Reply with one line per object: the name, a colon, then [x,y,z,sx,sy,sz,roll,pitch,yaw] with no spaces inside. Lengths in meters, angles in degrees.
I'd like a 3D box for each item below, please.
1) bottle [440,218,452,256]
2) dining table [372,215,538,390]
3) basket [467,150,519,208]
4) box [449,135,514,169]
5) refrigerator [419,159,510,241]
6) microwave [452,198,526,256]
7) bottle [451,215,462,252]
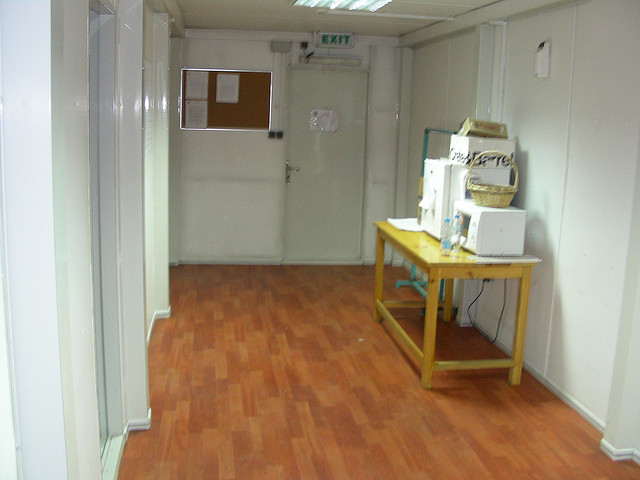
bottle: [0.981,-0.042,3.860,0.094,0.214,0.434,5,15,13]
dining table: [1.078,0.318,4.644,1.102,1.056,2.223,1,15,-3]
basket: [1.334,-0.464,3.823,0.334,0.457,0.348,6,3,18]
box: [1.270,-0.719,4.048,0.321,0.225,0.335,1,10,-11]
refrigerator: [1.157,-0.374,4.268,0.581,0.804,0.787,3,10,-4]
microwave: [1.315,-0.083,3.906,0.381,0.382,0.571,-2,12,2]
bottle: [1.052,-0.062,3.846,0.075,0.249,0.254,5,14,14]
